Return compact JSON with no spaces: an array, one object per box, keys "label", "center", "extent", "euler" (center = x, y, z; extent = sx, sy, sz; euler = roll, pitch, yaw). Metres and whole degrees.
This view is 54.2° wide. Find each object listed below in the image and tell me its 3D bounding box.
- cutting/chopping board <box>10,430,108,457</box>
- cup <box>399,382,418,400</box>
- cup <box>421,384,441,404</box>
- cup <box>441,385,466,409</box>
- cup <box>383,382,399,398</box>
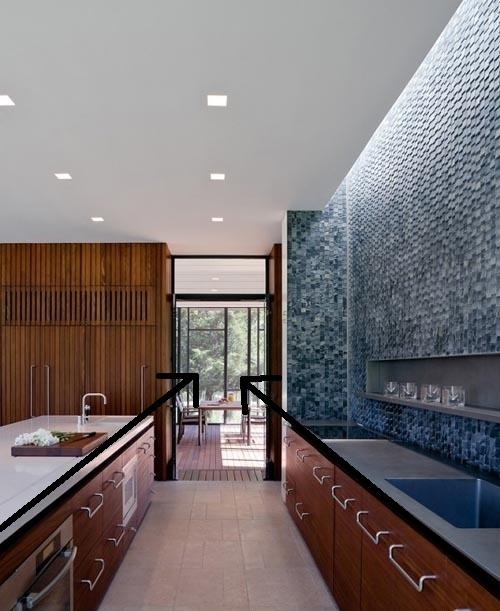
[{"label":"cutting/chopping board","center":[-1.100,0.780,2.880],"extent":[0.407,0.123,0.608],"euler":[0,-6,-4]},{"label":"cup","center":[1.006,0.552,3.121],"extent":[0.083,0.114,0.095],"euler":[1,-7,-8]},{"label":"cup","center":[1.018,0.505,2.762],"extent":[0.075,0.101,0.088],"euler":[1,-7,-2]},{"label":"cup","center":[1.018,0.459,2.459],"extent":[0.111,0.096,0.207],"euler":[-3,-7,24]},{"label":"cup","center":[0.970,0.582,3.369],"extent":[0.080,0.108,0.089],"euler":[1,-8,1]}]
